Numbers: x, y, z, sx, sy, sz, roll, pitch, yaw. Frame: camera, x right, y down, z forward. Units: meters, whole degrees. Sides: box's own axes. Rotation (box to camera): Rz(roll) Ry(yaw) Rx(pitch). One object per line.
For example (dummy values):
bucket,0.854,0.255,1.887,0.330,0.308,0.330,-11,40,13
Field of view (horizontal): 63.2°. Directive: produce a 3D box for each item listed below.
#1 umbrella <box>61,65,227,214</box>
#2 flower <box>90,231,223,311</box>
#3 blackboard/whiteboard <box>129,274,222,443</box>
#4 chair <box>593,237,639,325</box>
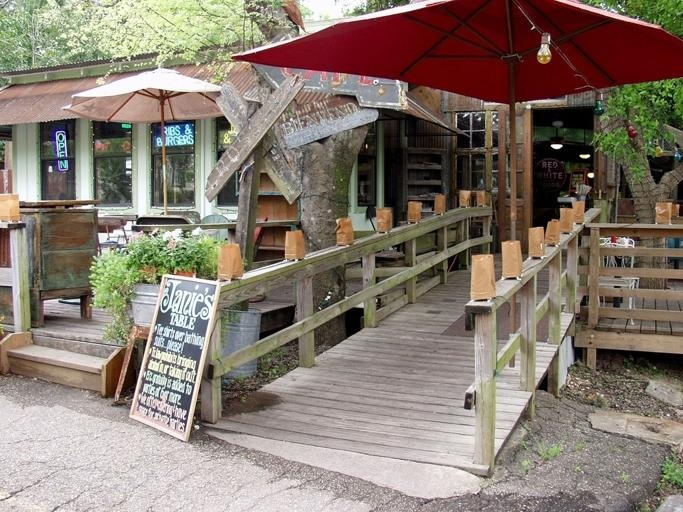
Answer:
umbrella,-2.911,-2.403,8.605,2.158,3.021,2.182,8,11,27
flower,-1.863,0.028,5.460,0.872,0.468,0.879,-3,6,1
blackboard/whiteboard,-1.435,0.843,4.821,0.668,1.443,0.746,16,13,41
chair,4.738,0.087,9.518,0.631,1.324,4.185,5,12,26
